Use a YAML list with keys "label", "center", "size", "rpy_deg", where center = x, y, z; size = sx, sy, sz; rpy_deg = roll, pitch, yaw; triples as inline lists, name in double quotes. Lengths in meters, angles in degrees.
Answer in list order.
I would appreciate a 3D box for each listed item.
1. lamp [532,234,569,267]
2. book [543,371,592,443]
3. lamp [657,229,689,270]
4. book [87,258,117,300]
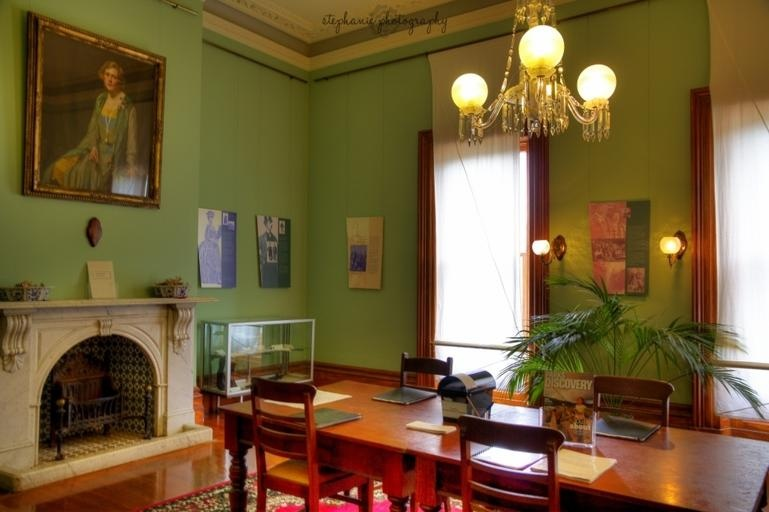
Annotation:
- label: "lamp"
  center: [1.995, -0.103, 6.818]
  size: [0.379, 0.435, 0.309]
  rpy_deg: [1, -2, 9]
- label: "book"
  center: [1.261, 1.035, 3.858]
  size: [0.426, 0.621, 0.066]
  rpy_deg: [-2, -7, 28]
- label: "lamp"
  center: [3.202, -0.097, 6.264]
  size: [0.288, 0.409, 0.181]
  rpy_deg: [-4, -2, 27]
- label: "book"
  center: [-3.032, 0.238, 6.101]
  size: [0.282, 0.421, 0.156]
  rpy_deg: [-2, -2, -30]
